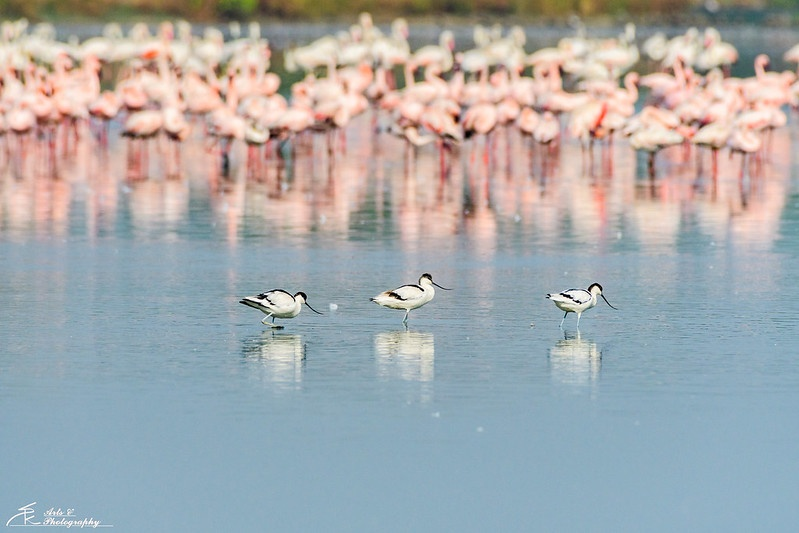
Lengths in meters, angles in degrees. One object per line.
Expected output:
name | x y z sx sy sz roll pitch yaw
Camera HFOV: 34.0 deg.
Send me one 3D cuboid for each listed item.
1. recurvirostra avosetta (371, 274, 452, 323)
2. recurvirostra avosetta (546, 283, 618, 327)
recurvirostra avosetta | 0.081 0.329 13.814 0.917 0.489 0.267 2 -3 -16
recurvirostra avosetta | 1.861 0.386 13.669 0.842 0.431 0.269 9 -1 -24
